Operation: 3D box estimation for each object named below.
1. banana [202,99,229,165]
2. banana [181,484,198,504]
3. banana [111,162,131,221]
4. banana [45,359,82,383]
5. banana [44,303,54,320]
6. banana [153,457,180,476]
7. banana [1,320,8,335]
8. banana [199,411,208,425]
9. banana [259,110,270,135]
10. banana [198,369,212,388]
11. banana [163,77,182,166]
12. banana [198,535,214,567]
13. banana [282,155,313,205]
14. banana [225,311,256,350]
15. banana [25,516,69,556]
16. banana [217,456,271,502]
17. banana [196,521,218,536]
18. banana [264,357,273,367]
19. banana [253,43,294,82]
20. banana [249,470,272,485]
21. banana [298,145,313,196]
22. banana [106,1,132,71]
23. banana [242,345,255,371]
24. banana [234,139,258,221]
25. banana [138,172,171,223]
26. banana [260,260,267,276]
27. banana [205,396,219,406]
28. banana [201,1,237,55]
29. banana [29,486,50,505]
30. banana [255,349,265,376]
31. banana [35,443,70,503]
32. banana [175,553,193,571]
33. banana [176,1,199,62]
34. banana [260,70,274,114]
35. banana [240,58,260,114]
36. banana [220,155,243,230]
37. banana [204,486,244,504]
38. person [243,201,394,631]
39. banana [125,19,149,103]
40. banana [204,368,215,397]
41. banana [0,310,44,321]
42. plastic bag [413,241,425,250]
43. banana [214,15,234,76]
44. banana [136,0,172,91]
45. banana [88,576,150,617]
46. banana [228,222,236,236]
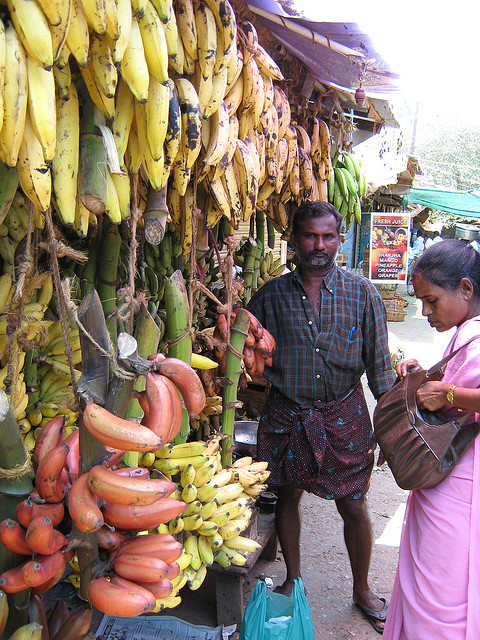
[{"bbox_3d":[-0.068,-0.511,1.379,0.054,0.205,0.046,9,-20,-7],"label":"banana"},{"bbox_3d":[-0.152,0.525,1.520,0.034,0.071,0.042,13,17,23],"label":"banana"},{"bbox_3d":[-0.256,-0.287,1.111,0.029,0.122,0.038,-1,16,2],"label":"banana"},{"bbox_3d":[-0.580,0.164,1.630,0.097,0.090,0.074,7,11,11],"label":"banana"},{"bbox_3d":[-0.631,-0.026,1.666,0.015,0.066,0.023,-9,-22,38],"label":"banana"},{"bbox_3d":[-0.217,0.434,1.497,0.072,0.042,0.028,26,17,24],"label":"banana"},{"bbox_3d":[-0.602,0.015,1.286,0.024,0.036,0.010,7,7,14],"label":"banana"},{"bbox_3d":[-0.162,0.441,2.260,0.018,0.079,0.026,-9,0,42],"label":"banana"},{"bbox_3d":[0.090,-0.717,1.823,0.029,0.096,0.024,3,14,30],"label":"banana"},{"bbox_3d":[-0.137,0.245,2.195,0.046,0.083,0.025,-9,20,-14],"label":"banana"},{"bbox_3d":[-0.153,-0.452,1.169,0.040,0.201,0.061,0,11,-10],"label":"banana"},{"bbox_3d":[-0.111,0.738,1.607,0.030,0.036,0.108,-7,52,-16],"label":"banana"},{"bbox_3d":[0.283,-0.698,2.463,0.046,0.289,0.068,15,6,-26],"label":"banana"},{"bbox_3d":[0.012,0.041,2.119,0.090,0.168,0.046,-28,0,-38],"label":"banana"},{"bbox_3d":[-0.340,0.388,0.905,0.046,0.103,0.042,10,51,8],"label":"banana"},{"bbox_3d":[0.024,0.608,1.904,0.147,0.111,0.206,28,12,14],"label":"banana"},{"bbox_3d":[-0.098,0.637,1.542,0.064,0.045,0.036,-7,25,9],"label":"banana"},{"bbox_3d":[0.131,0.191,2.314,0.029,0.044,0.016,-2,6,10],"label":"banana"},{"bbox_3d":[0.117,-0.876,1.769,0.189,0.066,0.052,48,-2,-41],"label":"banana"},{"bbox_3d":[0.084,0.616,1.959,0.036,0.047,0.118,-31,-26,8],"label":"banana"},{"bbox_3d":[0.339,-0.763,2.569,0.055,0.259,0.069,-10,-4,-35],"label":"banana"},{"bbox_3d":[-0.212,-0.517,0.907,0.032,0.154,0.050,-6,-10,28],"label":"banana"},{"bbox_3d":[0.044,0.159,2.170,0.049,0.104,0.031,0,-3,-22],"label":"banana"},{"bbox_3d":[0.021,-0.501,1.681,0.085,0.256,0.061,-10,33,-8],"label":"banana"},{"bbox_3d":[-0.280,-0.352,1.567,0.041,0.231,0.057,-11,-16,-38],"label":"banana"},{"bbox_3d":[0.167,-0.353,3.369,0.050,0.108,0.058,2,11,-13],"label":"banana"},{"bbox_3d":[-0.120,0.358,2.238,0.057,0.052,0.041,4,11,-2],"label":"banana"},{"bbox_3d":[-0.047,-0.783,1.352,0.058,0.179,0.037,-21,-2,-34],"label":"banana"},{"bbox_3d":[-0.407,0.351,1.013,0.039,0.036,0.025,-17,-9,29],"label":"banana"},{"bbox_3d":[0.096,0.197,2.297,0.030,0.131,0.040,-4,22,5],"label":"banana"},{"bbox_3d":[-0.361,0.298,0.971,0.033,0.109,0.067,18,22,18],"label":"banana"},{"bbox_3d":[-0.160,0.711,1.480,0.029,0.042,0.111,3,-19,-10],"label":"banana"},{"bbox_3d":[-0.132,-0.747,1.274,0.043,0.171,0.035,-2,3,-12],"label":"banana"},{"bbox_3d":[0.106,-0.816,1.802,0.035,0.171,0.053,-5,-1,-14],"label":"banana"},{"bbox_3d":[0.036,-0.748,1.596,0.041,0.172,0.053,-1,16,-15],"label":"banana"},{"bbox_3d":[-0.026,-0.412,1.652,0.045,0.244,0.040,-5,6,5],"label":"banana"},{"bbox_3d":[-0.047,0.565,1.697,0.146,0.042,0.047,-7,35,-44],"label":"banana"},{"bbox_3d":[0.371,0.515,2.537,0.860,2.079,0.610,0,8,5],"label":"person"},{"bbox_3d":[-0.198,-0.496,0.969,0.036,0.165,0.040,-1,-7,-9],"label":"banana"},{"bbox_3d":[-0.133,0.265,2.236,0.038,0.144,0.037,-1,0,-37],"label":"banana"},{"bbox_3d":[-0.463,-0.011,1.072,0.066,0.025,0.020,-2,-33,29],"label":"banana"},{"bbox_3d":[6.375,-2.694,17.857,0.218,0.292,0.581,0,13,-23],"label":"plastic bag"},{"bbox_3d":[-0.036,-0.714,1.331,0.032,0.162,0.051,-5,13,0],"label":"banana"},{"bbox_3d":[-0.172,-0.564,1.020,0.040,0.193,0.064,-10,11,12],"label":"banana"},{"bbox_3d":[-0.223,0.518,0.940,0.104,0.042,0.059,16,37,12],"label":"banana"},{"bbox_3d":[-0.028,-0.326,1.765,0.022,0.051,0.015,-16,34,-14],"label":"banana"}]
